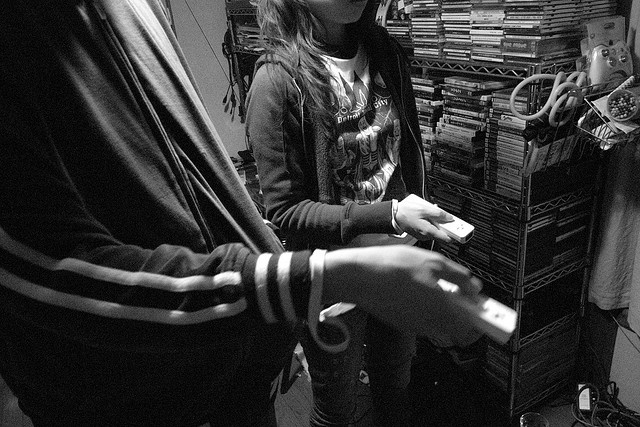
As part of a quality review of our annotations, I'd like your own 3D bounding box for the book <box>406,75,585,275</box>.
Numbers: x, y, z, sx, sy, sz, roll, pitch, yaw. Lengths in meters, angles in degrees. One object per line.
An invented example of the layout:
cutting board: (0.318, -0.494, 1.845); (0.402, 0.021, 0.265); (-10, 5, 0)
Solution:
book: (0.832, -0.234, 2.146); (0.785, 1.072, 0.530); (-21, 27, -31)
